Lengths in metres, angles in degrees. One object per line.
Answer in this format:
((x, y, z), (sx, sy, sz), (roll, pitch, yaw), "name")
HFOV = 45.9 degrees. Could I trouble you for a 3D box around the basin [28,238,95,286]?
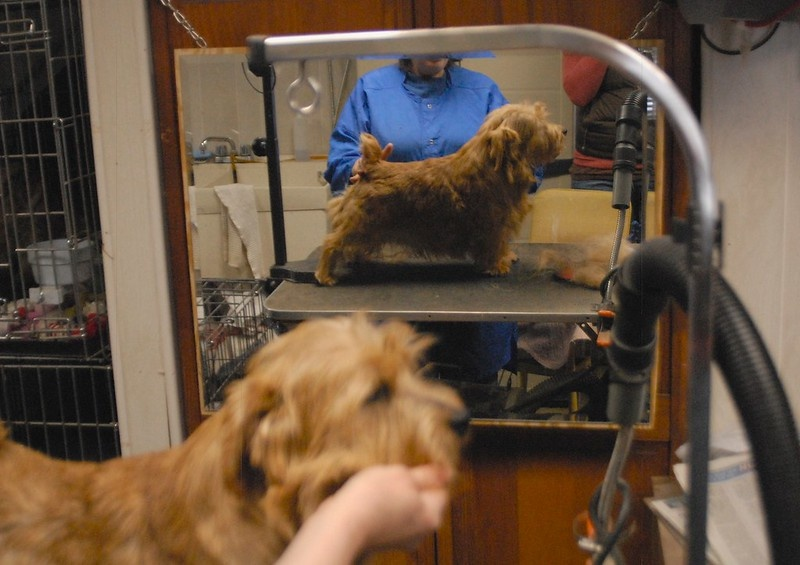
((-0.818, -0.042, 2.273), (0.122, 0.080, 0.122), (-2, 9, 0), "basin")
